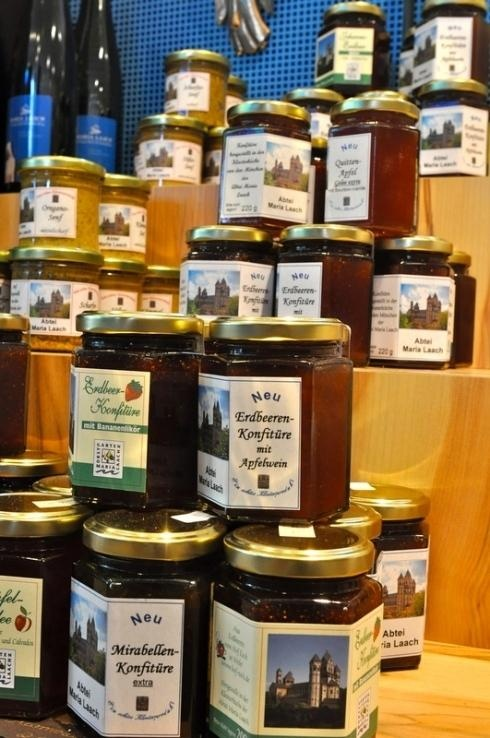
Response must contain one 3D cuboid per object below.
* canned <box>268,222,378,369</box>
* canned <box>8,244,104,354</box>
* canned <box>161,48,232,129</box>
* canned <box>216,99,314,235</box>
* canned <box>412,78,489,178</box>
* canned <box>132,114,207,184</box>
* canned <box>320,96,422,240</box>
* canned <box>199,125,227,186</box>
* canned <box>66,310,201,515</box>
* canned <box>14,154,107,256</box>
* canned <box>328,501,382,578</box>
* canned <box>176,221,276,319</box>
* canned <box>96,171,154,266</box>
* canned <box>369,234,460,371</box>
[{"bbox_3d":[0.123,-0.098,0.991,0.161,0.234,0.178,2,3,31],"label":"canned"},{"bbox_3d":[-0.293,-0.106,1.158,0.168,0.187,0.170,1,0,-4],"label":"canned"},{"bbox_3d":[-0.106,-0.616,1.533,0.155,0.147,0.155,2,8,7],"label":"canned"},{"bbox_3d":[0.030,-0.289,1.026,0.140,0.186,0.128,5,2,36],"label":"canned"},{"bbox_3d":[0.370,-0.425,1.219,0.129,0.165,0.111,3,12,13],"label":"canned"},{"bbox_3d":[-0.151,-0.444,1.421,0.140,0.132,0.136,-6,11,-44],"label":"canned"},{"bbox_3d":[0.187,-0.294,1.019,0.142,0.195,0.133,2,3,-16],"label":"canned"},{"bbox_3d":[-0.080,-0.449,1.459,0.067,0.109,0.068,-8,25,-29],"label":"canned"},{"bbox_3d":[-0.125,0.044,0.750,0.148,0.196,0.146,0,-6,29],"label":"canned"},{"bbox_3d":[-0.326,-0.270,1.184,0.138,0.151,0.140,2,3,2],"label":"canned"},{"bbox_3d":[0.121,0.172,0.703,0.057,0.071,0.077,-1,-4,45],"label":"canned"},{"bbox_3d":[-0.028,-0.131,0.998,0.143,0.141,0.143,5,8,24],"label":"canned"},{"bbox_3d":[-0.227,-0.270,1.280,0.090,0.142,0.090,4,2,-10],"label":"canned"},{"bbox_3d":[0.249,-0.092,0.997,0.123,0.179,0.130,-1,6,-37],"label":"canned"}]
